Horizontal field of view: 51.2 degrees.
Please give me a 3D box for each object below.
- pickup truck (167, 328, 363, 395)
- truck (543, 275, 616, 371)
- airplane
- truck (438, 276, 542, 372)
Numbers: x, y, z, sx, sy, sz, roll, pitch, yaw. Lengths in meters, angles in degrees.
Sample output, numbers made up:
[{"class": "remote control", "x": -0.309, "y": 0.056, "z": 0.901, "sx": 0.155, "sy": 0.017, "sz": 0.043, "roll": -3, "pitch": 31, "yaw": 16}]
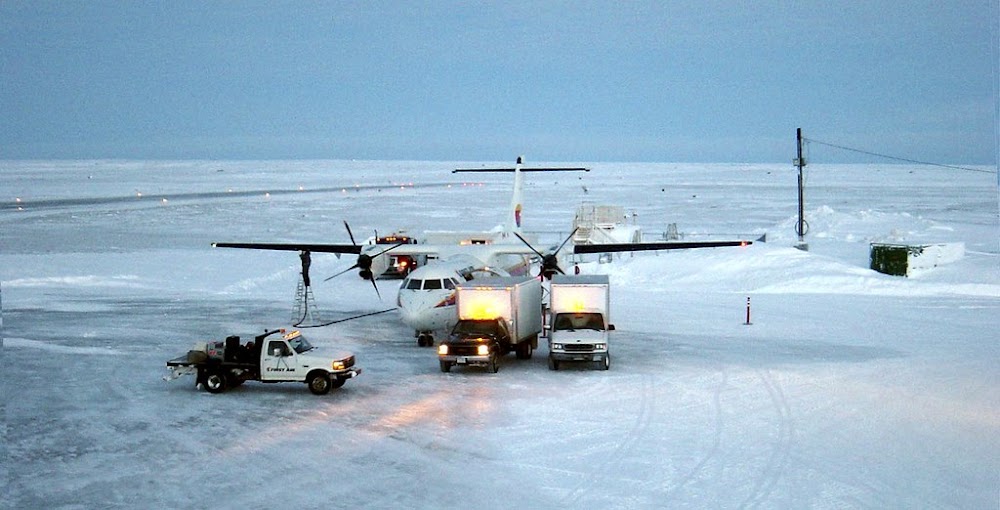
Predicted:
[{"class": "pickup truck", "x": -14.237, "y": 6.683, "z": 64.593, "sx": 12.317, "sy": 3.301, "sz": 4.309, "roll": -1, "pitch": 6, "yaw": 7}, {"class": "truck", "x": 5.187, "y": 4.414, "z": 67.030, "sx": 3.939, "sy": 5.156, "sz": 4.189, "roll": 0, "pitch": 13, "yaw": 2}, {"class": "airplane", "x": -1.025, "y": -0.577, "z": 86.644, "sx": 29.724, "sy": 6.961, "sz": 21.159, "roll": -1, "pitch": 5, "yaw": 15}, {"class": "truck", "x": -0.615, "y": 4.511, "z": 68.940, "sx": 4.884, "sy": 4.486, "sz": 9.634, "roll": 2, "pitch": 7, "yaw": 22}]
